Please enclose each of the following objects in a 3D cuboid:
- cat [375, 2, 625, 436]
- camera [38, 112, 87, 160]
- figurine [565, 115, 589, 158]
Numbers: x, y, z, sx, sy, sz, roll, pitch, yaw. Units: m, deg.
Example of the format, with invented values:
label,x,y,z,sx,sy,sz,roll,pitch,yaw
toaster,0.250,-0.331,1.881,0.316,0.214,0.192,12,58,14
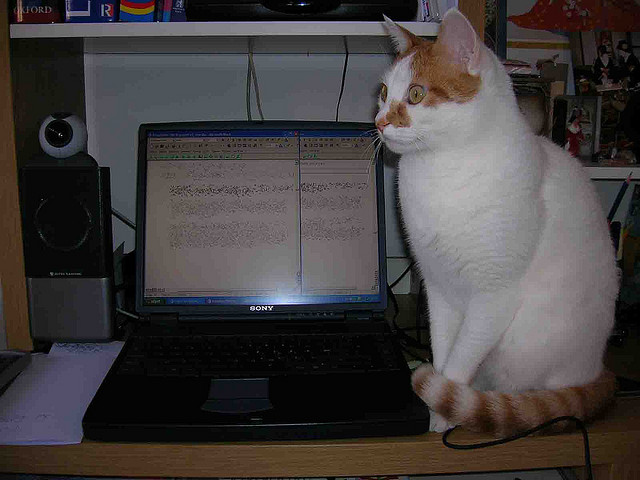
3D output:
label,x,y,z,sx,sy,sz,roll,pitch,yaw
cat,0.302,-0.037,1.012,0.419,0.657,0.284,1,14,10
camera,-0.493,-0.200,1.181,0.080,0.091,0.092,-4,17,-33
figurine,0.568,-0.214,1.377,0.051,0.109,0.040,-1,14,2
